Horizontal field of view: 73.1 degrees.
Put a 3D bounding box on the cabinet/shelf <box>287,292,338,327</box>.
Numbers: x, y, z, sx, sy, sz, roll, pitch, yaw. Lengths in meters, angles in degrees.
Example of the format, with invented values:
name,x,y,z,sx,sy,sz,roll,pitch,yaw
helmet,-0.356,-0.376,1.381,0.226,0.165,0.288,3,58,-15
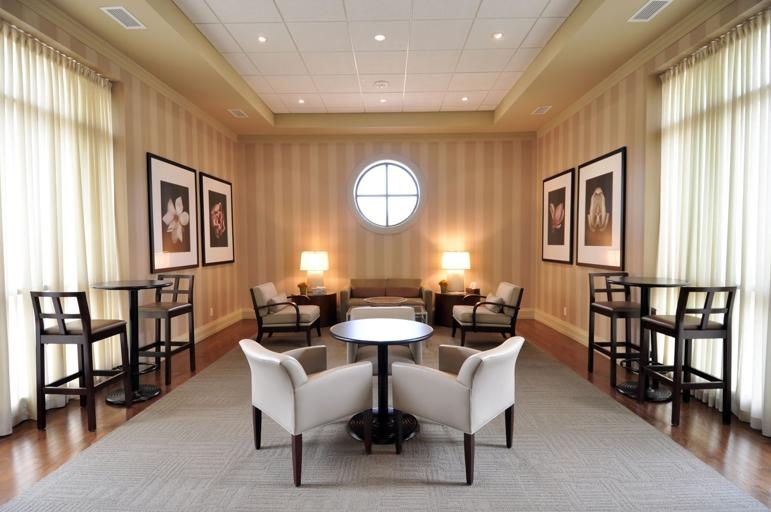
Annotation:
name,x,y,z,sx,sy,sz,roll,pitch,yaw
cabinet/shelf,-1.231,0.945,9.791,0.743,0.488,0.716,0,3,-3
